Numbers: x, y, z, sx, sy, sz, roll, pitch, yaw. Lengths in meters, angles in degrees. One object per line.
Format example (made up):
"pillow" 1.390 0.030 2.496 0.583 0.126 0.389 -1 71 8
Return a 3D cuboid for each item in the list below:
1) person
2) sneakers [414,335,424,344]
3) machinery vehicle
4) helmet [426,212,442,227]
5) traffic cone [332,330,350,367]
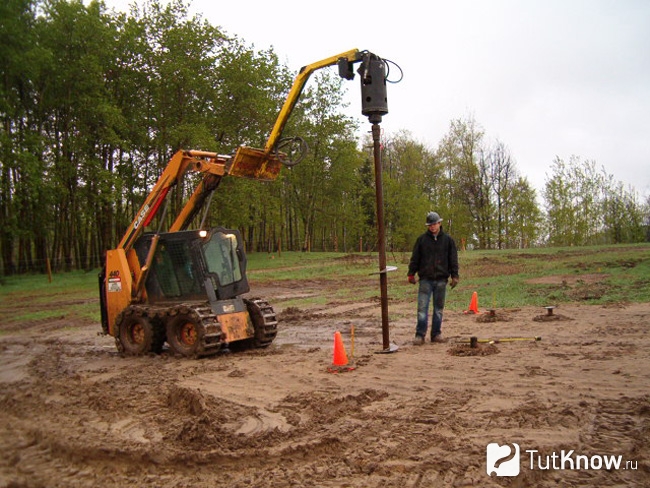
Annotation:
"person" 2.289 0.681 11.682 1.020 2.689 1.380 -2 2 13
"sneakers" 1.931 1.968 11.320 0.259 0.171 0.256 -4 2 -4
"machinery vehicle" -1.859 -0.731 12.933 6.612 7.154 2.484 -6 -18 5
"helmet" 2.280 -0.540 11.524 0.297 0.271 0.412 0 8 34
"traffic cone" 0.253 1.865 9.868 0.276 0.588 0.248 -19 21 -29
